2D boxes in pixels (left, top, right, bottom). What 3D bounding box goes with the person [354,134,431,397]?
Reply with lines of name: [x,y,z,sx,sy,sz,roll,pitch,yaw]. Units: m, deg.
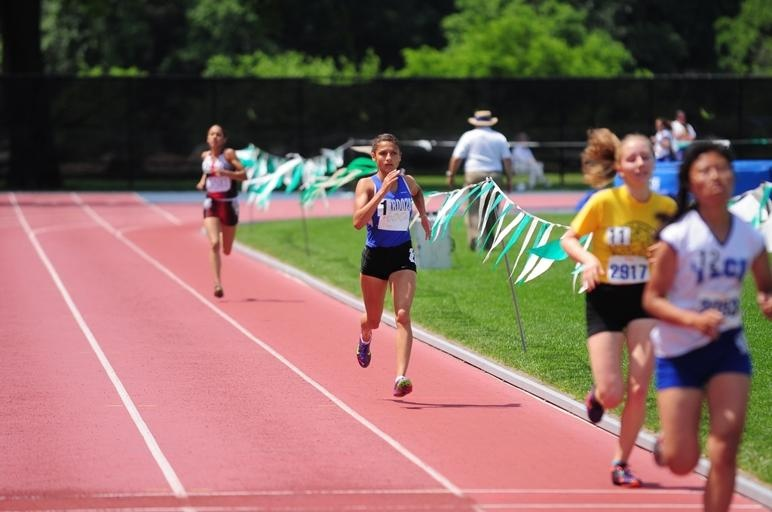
person: [0.062,0.093,8.515,0.675,2.390,1.201,0,10,-2]

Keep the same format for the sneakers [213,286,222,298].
sneakers: [-2.177,0.479,12.054,0.102,0.102,0.117,-18,23,2]

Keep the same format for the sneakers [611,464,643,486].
sneakers: [1.703,1.574,6.592,0.116,0.095,0.219,-1,3,-38]

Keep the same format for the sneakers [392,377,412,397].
sneakers: [0.135,1.170,8.180,0.143,0.078,0.183,-14,2,-14]

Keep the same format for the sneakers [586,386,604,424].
sneakers: [1.475,1.105,6.570,0.114,0.313,0.139,-6,14,2]

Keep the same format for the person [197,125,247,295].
person: [-2.127,-0.539,12.135,0.577,2.267,0.714,-2,10,-13]

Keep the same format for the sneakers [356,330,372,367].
sneakers: [-0.216,0.936,9.102,0.125,0.364,0.155,-3,4,-8]
